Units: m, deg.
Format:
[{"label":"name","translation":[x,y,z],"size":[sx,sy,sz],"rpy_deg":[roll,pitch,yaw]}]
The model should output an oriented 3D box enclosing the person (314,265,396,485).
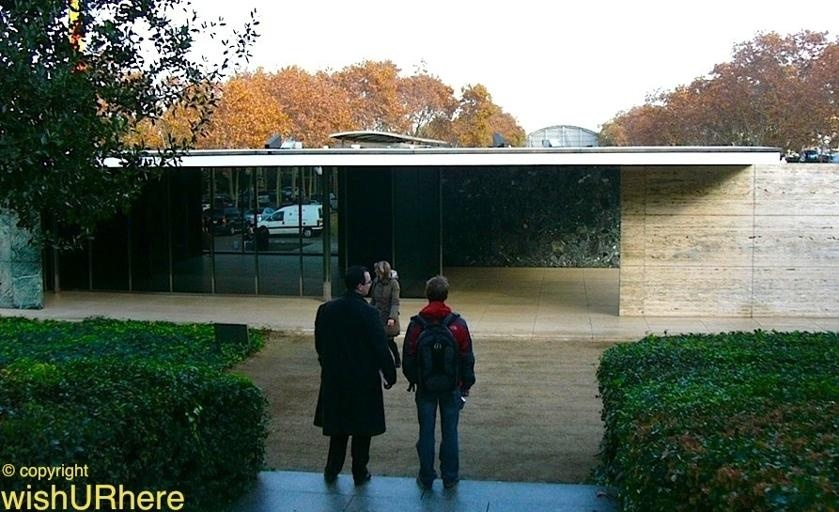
[{"label":"person","translation":[-0.751,1.420,8.660],"size":[0.886,2.510,0.408],"rpy_deg":[-5,6,-9]}]
